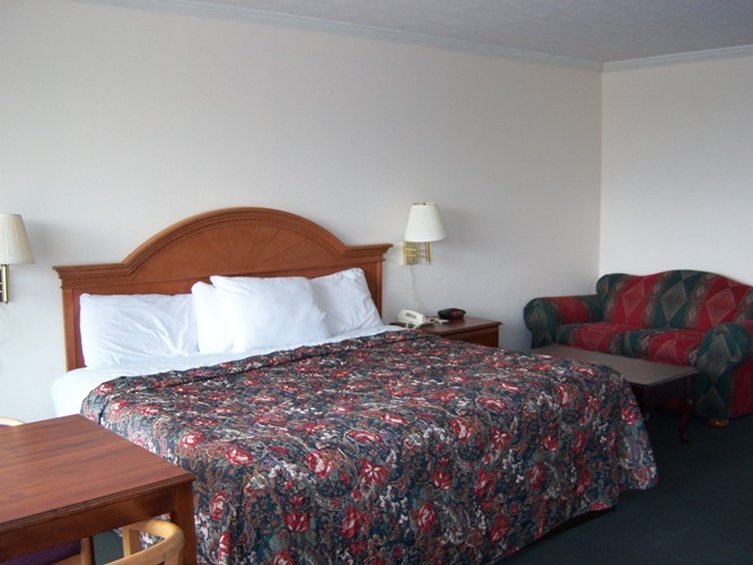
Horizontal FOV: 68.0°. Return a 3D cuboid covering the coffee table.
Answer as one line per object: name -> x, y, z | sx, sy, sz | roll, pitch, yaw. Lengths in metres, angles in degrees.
coffee table -> 1.928, 0.600, 4.220 | 0.780, 0.514, 1.289 | -6, 9, -39

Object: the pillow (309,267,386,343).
pillow -> -0.242, 0.165, 4.363 | 0.582, 0.462, 0.148 | -8, -12, -39
